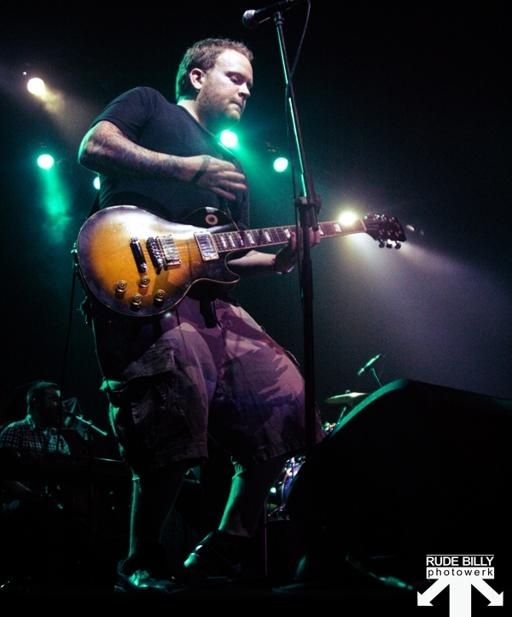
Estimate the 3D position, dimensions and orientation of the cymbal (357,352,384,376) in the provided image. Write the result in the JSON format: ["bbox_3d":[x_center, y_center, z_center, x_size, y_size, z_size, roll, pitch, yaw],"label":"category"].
[{"bbox_3d":[1.201,0.573,6.105,0.291,0.068,0.295,-47,-21,21],"label":"cymbal"}]

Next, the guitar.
[{"bbox_3d":[-0.001,-0.286,2.773,1.628,0.555,0.170,-8,-13,-41],"label":"guitar"}]
